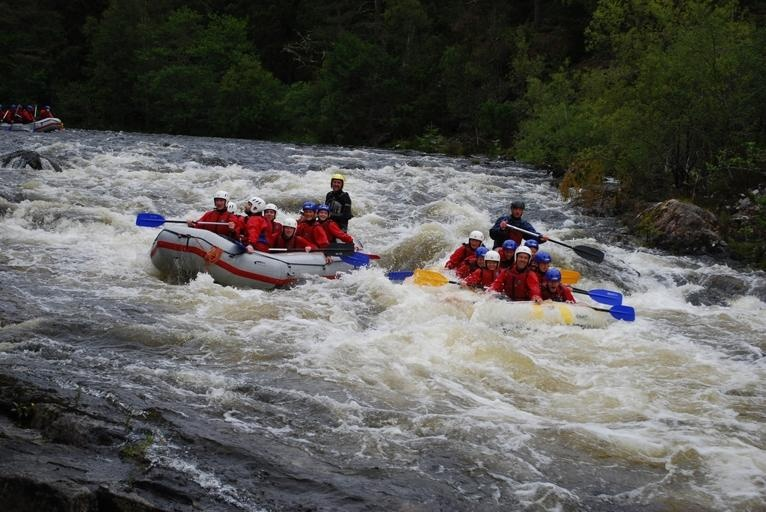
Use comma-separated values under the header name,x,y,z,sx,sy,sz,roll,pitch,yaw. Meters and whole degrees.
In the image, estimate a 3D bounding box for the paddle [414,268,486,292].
name,x,y,z,sx,sy,sz,roll,pitch,yaw
paddle,1.207,0.493,15.496,1.876,0.389,0.126,11,3,23

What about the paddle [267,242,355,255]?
name,x,y,z,sx,sy,sz,roll,pitch,yaw
paddle,-1.581,-0.170,15.909,2.156,0.321,0.303,0,-5,-13

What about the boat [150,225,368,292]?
name,x,y,z,sx,sy,sz,roll,pitch,yaw
boat,-2.587,0.174,15.133,2.946,0.618,1.650,11,2,-39
